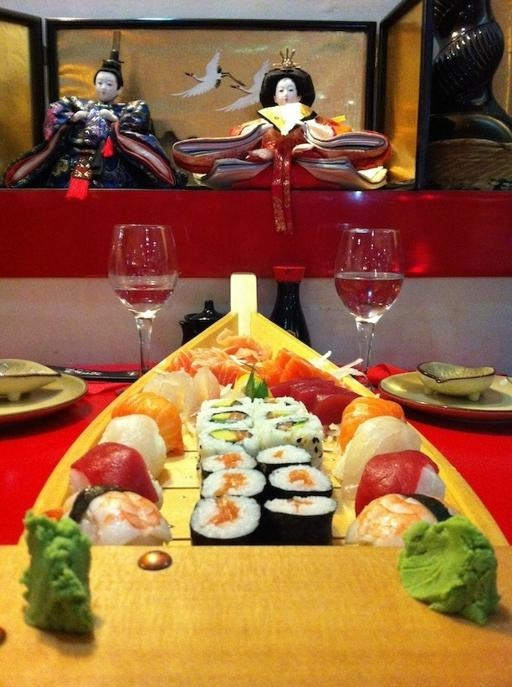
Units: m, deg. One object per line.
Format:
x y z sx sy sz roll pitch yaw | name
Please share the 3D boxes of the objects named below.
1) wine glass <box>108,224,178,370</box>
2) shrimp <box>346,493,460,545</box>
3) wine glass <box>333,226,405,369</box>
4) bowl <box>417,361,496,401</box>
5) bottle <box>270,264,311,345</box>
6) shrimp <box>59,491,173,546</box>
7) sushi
-0.139 -0.056 0.773 0.089 0.201 0.086 0 15 -4 | wine glass
0.070 0.089 0.292 0.036 0.015 0.049 -6 5 27 | shrimp
0.160 -0.067 0.756 0.098 0.191 0.088 -5 14 -19 | wine glass
0.234 0.042 0.668 0.085 0.041 0.081 1 10 0 | bowl
0.062 -0.069 1.031 0.068 0.136 0.124 1 9 2 | bottle
-0.069 0.091 0.294 0.042 0.023 0.034 -6 11 -36 | shrimp
0.006 0.084 0.401 0.097 0.036 0.276 0 9 -5 | sushi
